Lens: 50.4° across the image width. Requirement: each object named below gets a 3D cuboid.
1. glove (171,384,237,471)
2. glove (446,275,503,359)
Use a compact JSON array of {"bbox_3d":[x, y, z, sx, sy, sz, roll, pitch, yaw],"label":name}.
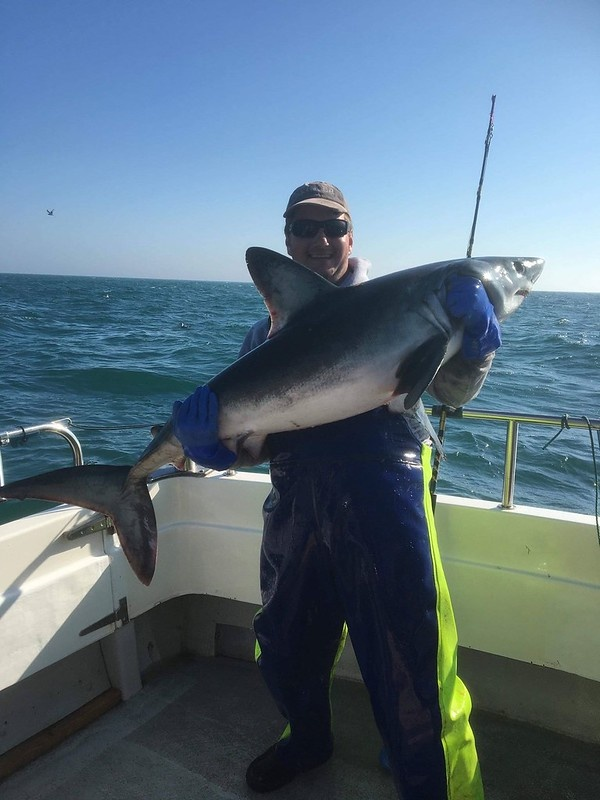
[{"bbox_3d":[-0.302,0.109,2.274,0.093,0.278,0.213,-24,35,-22],"label":"glove"},{"bbox_3d":[0.561,-0.283,2.134,0.100,0.263,0.197,-10,-19,-27],"label":"glove"}]
